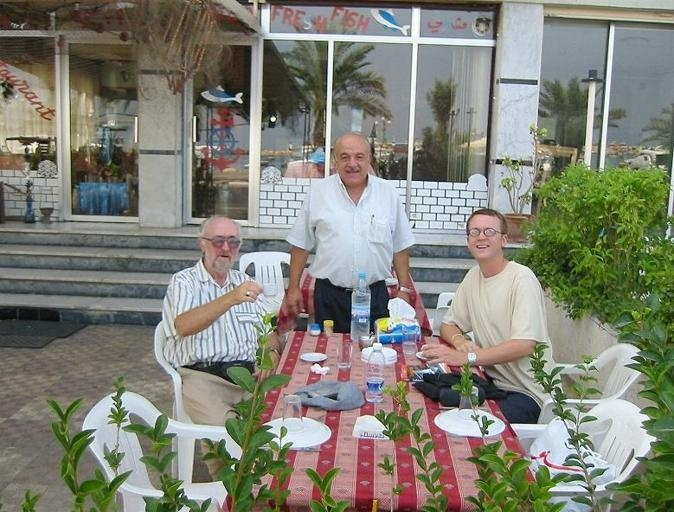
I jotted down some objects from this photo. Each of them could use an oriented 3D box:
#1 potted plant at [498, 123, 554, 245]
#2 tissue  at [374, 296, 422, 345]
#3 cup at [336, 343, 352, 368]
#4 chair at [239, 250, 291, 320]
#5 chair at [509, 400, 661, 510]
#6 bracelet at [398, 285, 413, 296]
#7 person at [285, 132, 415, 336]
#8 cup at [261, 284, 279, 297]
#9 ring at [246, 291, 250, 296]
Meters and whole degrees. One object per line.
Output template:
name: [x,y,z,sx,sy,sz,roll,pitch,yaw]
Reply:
potted plant: [2.452,-0.975,7.966,0.545,2.003,0.589,1,11,-7]
tissue : [0.424,0.452,4.100,0.234,0.300,0.268,9,10,15]
cup: [0.055,0.597,3.607,0.089,0.151,0.096,0,-2,0]
chair: [-0.716,0.191,5.959,0.460,0.764,0.498,2,11,-4]
chair: [1.138,0.845,2.914,0.520,0.830,0.568,2,6,-3]
bracelet: [0.553,0.274,4.881,0.095,0.072,0.108,7,-3,7]
person: [0.107,-0.191,4.898,1.064,1.551,0.660,3,12,6]
cup: [-0.573,0.297,5.242,0.101,0.104,0.103,1,6,0]
ring: [-0.511,0.218,3.476,0.022,0.039,0.024,1,-2,0]
